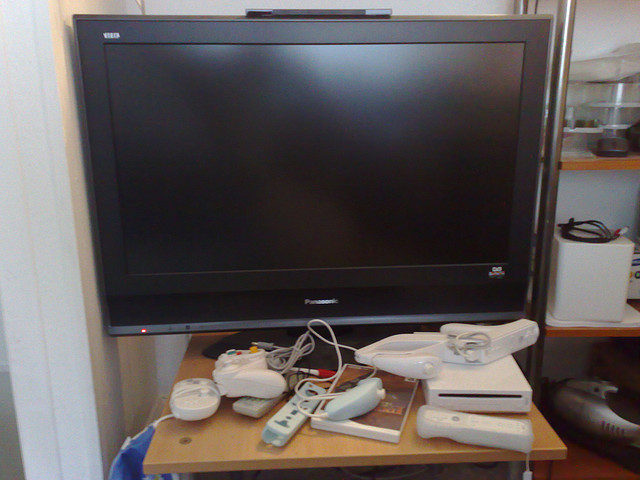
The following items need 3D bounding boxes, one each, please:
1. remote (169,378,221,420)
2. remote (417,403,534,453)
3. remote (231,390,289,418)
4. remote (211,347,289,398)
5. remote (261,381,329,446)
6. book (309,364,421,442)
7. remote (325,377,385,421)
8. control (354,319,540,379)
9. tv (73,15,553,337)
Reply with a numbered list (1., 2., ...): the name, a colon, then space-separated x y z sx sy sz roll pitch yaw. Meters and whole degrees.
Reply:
1. remote: -0.306 0.381 1.342 0.124 0.042 0.132 0 23 -10
2. remote: 0.341 0.422 1.252 0.306 0.061 0.088 3 21 9
3. remote: -0.155 0.397 1.332 0.092 0.016 0.084 9 17 36
4. remote: -0.194 0.329 1.397 0.228 0.066 0.192 -3 16 -4
5. remote: -0.051 0.417 1.327 0.067 0.025 0.215 23 35 33
6. book: 0.126 0.395 1.362 0.240 0.027 0.234 11 34 26
7. remote: 0.117 0.373 1.356 0.110 0.054 0.167 -8 7 12
8. control: 0.331 0.251 1.380 0.367 0.062 0.179 -5 7 -4
9. tv: -0.055 -0.199 1.449 1.274 0.635 0.104 0 9 -1
